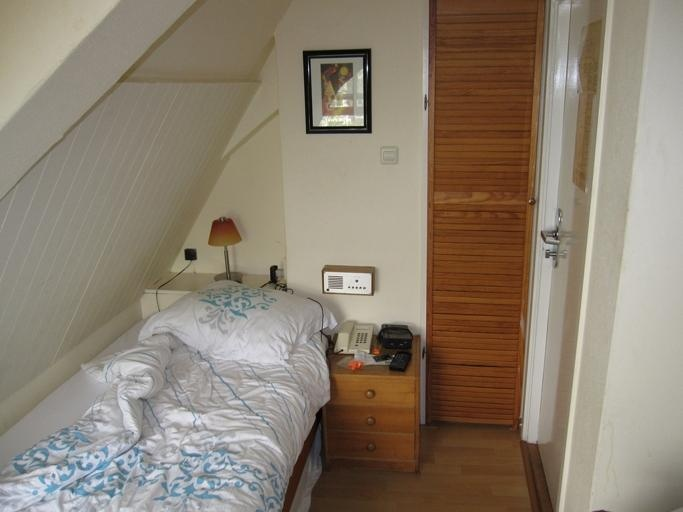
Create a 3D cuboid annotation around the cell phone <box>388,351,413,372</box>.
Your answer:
[{"bbox_3d":[0.298,0.537,2.659,0.066,0.029,0.121,3,25,16],"label":"cell phone"}]

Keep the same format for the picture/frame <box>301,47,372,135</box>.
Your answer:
[{"bbox_3d":[-0.012,-0.827,2.598,0.403,0.456,0.020,0,22,5],"label":"picture/frame"}]

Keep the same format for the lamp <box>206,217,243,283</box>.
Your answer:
[{"bbox_3d":[-0.677,-0.022,3.106,0.189,0.403,0.184,-11,21,-22],"label":"lamp"}]

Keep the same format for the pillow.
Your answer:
[{"bbox_3d":[-0.529,0.320,2.557,0.596,0.169,0.455,8,17,13],"label":"pillow"}]

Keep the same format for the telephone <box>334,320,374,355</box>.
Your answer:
[{"bbox_3d":[0.079,0.439,2.826,0.202,0.103,0.258,0,15,17],"label":"telephone"}]

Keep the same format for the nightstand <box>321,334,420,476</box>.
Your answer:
[{"bbox_3d":[0.103,0.786,2.918,0.559,0.690,0.532,0,10,6],"label":"nightstand"}]
